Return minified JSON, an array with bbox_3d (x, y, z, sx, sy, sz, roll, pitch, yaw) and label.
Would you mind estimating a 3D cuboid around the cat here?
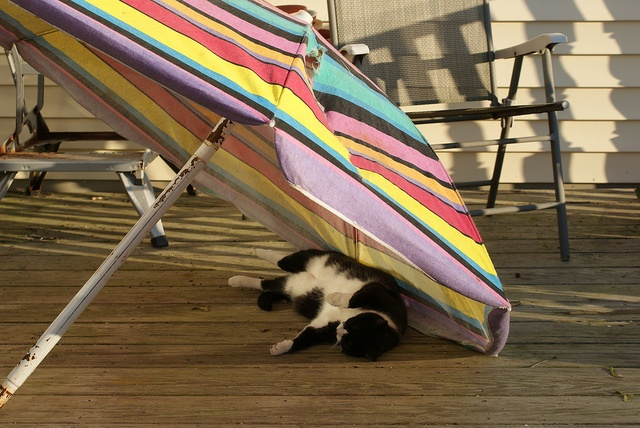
[{"bbox_3d":[0.031,0.454,3.806,0.790,0.207,0.559,-1,38,-17],"label":"cat"}]
